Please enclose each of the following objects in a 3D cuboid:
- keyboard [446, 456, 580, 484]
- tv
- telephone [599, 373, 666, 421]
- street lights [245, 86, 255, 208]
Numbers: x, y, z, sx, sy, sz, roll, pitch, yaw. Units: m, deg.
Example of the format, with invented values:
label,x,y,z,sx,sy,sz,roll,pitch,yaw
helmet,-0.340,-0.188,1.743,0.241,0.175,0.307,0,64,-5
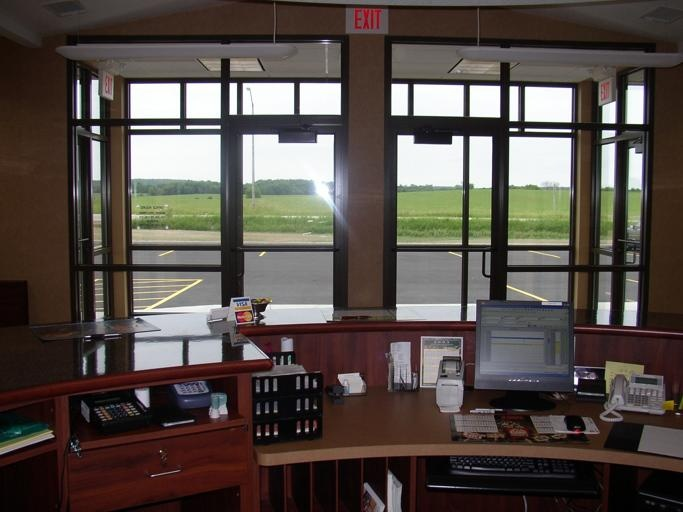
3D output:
label,x,y,z,sx,sy,sz,roll,pitch,yaw
keyboard,0.950,1.180,3.344,0.705,0.107,0.104,-1,1,2
tv,1.119,0.594,3.673,0.587,0.677,0.237,1,-6,5
telephone,1.768,0.834,3.605,0.256,0.142,0.326,1,12,23
street lights,-0.986,-1.185,6.500,0.102,1.289,0.103,-1,1,-8
